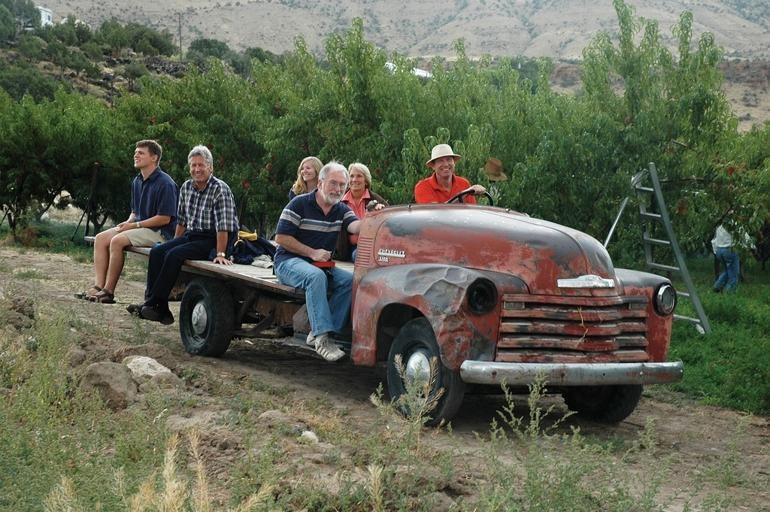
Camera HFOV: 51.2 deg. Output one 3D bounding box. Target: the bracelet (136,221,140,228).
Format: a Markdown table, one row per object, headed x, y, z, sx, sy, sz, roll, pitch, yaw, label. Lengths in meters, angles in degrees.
| x | y | z | sx | sy | sz | roll | pitch | yaw | label |
| --- | --- | --- | --- | --- | --- | --- | --- | --- | --- |
| -3.859 | -0.514 | 12.569 | 0.074 | 0.090 | 0.055 | 1 | 1 | -4 | bracelet |

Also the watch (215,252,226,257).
| x | y | z | sx | sy | sz | roll | pitch | yaw | label |
| --- | --- | --- | --- | --- | --- | --- | --- | --- | --- |
| -2.367 | -0.033 | 11.540 | 0.080 | 0.058 | 0.081 | -3 | 2 | -44 | watch |

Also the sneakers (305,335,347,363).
| x | y | z | sx | sy | sz | roll | pitch | yaw | label |
| --- | --- | --- | --- | --- | --- | --- | --- | --- | --- |
| -0.741 | 1.114 | 10.054 | 0.618 | 0.285 | 0.231 | 23 | 21 | 40 | sneakers |

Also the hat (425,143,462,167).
| x | y | z | sx | sy | sz | roll | pitch | yaw | label |
| --- | --- | --- | --- | --- | --- | --- | --- | --- | --- |
| 0.844 | -1.504 | 11.760 | 0.305 | 0.240 | 0.275 | 6 | 2 | 5 | hat |

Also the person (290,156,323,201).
| x | y | z | sx | sy | sz | roll | pitch | yaw | label |
| --- | --- | --- | --- | --- | --- | --- | --- | --- | --- |
| -1.227 | -1.256 | 12.869 | 0.500 | 0.755 | 0.410 | -1 | 12 | -18 | person |

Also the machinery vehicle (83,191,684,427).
| x | y | z | sx | sy | sz | roll | pitch | yaw | label |
| --- | --- | --- | --- | --- | --- | --- | --- | --- | --- |
| -0.098 | 0.452 | 10.673 | 2.776 | 2.296 | 6.571 | 3 | 2 | -42 | machinery vehicle |

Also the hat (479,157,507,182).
| x | y | z | sx | sy | sz | roll | pitch | yaw | label |
| --- | --- | --- | --- | --- | --- | --- | --- | --- | --- |
| 1.985 | -1.662 | 15.313 | 0.423 | 0.243 | 0.589 | 7 | 33 | -32 | hat |

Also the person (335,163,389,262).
| x | y | z | sx | sy | sz | roll | pitch | yaw | label |
| --- | --- | --- | --- | --- | --- | --- | --- | --- | --- |
| -0.472 | -0.699 | 12.416 | 1.041 | 1.524 | 0.931 | -4 | -1 | 4 | person |
